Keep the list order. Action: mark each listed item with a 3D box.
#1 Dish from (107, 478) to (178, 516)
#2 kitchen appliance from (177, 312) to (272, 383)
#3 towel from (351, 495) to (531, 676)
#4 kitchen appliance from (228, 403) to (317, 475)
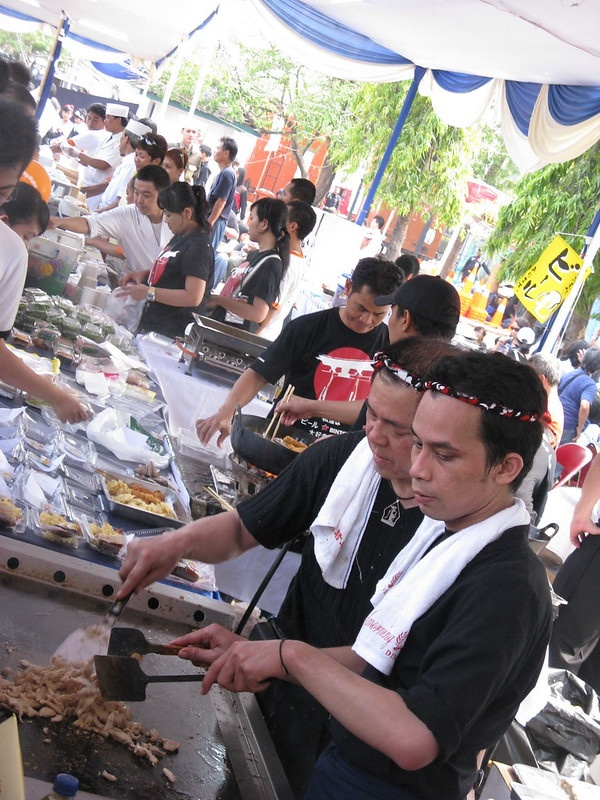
[{"bbox_3d":[-0.517,0.316,1.879,0.240,0.040,0.269,19,11,-23],"label":"Dish"},{"bbox_3d":[-0.490,-0.423,3.638,0.536,0.256,0.460,18,17,-29],"label":"kitchen appliance"},{"bbox_3d":[0.286,0.358,1.102,0.101,0.408,0.247,50,-11,-35],"label":"towel"},{"bbox_3d":[-0.120,0.142,2.149,0.331,0.159,0.323,20,13,-5],"label":"kitchen appliance"}]
